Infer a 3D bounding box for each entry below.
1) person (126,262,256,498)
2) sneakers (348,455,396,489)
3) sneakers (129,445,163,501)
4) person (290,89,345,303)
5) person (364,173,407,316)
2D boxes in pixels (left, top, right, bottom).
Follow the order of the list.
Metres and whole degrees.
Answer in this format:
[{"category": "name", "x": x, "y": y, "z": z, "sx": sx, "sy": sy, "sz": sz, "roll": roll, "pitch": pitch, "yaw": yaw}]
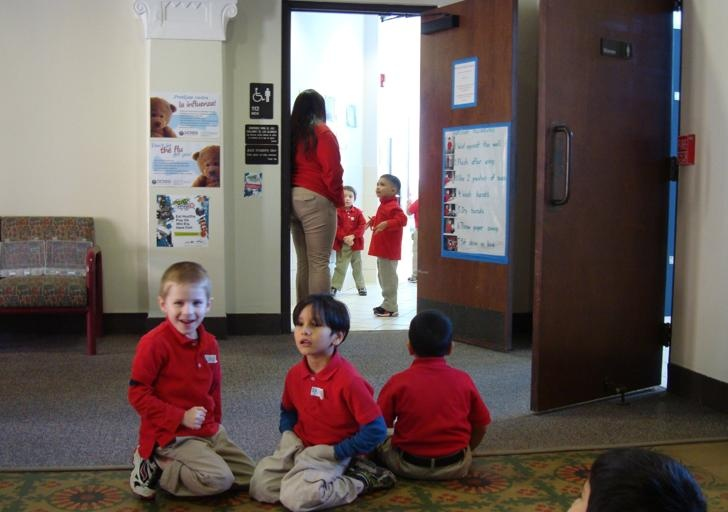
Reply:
[{"category": "person", "x": -0.707, "y": 0.510, "z": 2.366, "sx": 0.480, "sy": 0.943, "sz": 0.284, "roll": 1, "pitch": 7, "yaw": 5}, {"category": "sneakers", "x": 0.037, "y": 0.900, "z": 2.414, "sx": 0.180, "sy": 0.070, "sz": 0.110, "roll": 11, "pitch": 5, "yaw": -36}, {"category": "sneakers", "x": -0.886, "y": 0.877, "z": 2.345, "sx": 0.081, "sy": 0.227, "sz": 0.108, "roll": 15, "pitch": -38, "yaw": -42}, {"category": "person", "x": -0.375, "y": -0.459, "z": 4.522, "sx": 0.355, "sy": 1.699, "sz": 0.555, "roll": -3, "pitch": 7, "yaw": -24}, {"category": "person", "x": 0.226, "y": -0.119, "z": 5.786, "sx": 0.370, "sy": 1.373, "sz": 0.518, "roll": 0, "pitch": 7, "yaw": 0}]
